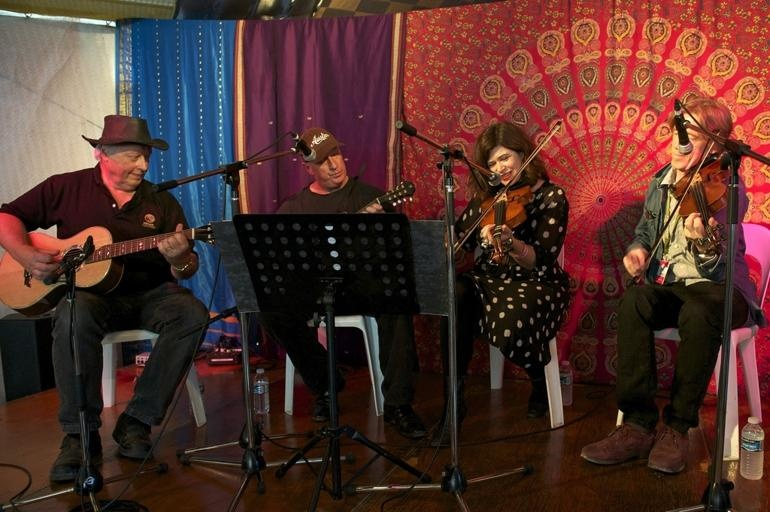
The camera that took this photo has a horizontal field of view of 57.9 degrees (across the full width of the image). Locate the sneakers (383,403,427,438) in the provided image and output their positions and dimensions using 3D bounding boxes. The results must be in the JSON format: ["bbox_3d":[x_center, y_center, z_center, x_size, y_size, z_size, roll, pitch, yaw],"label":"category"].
[{"bbox_3d":[0.124,0.955,4.225,0.152,0.169,0.403,-2,10,-28],"label":"sneakers"}]

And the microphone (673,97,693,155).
[{"bbox_3d":[1.473,-0.627,3.417,0.077,0.238,0.457,2,5,24],"label":"microphone"}]

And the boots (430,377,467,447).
[{"bbox_3d":[0.356,0.959,4.017,0.112,0.213,0.299,13,-36,-33],"label":"boots"}]

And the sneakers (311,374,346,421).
[{"bbox_3d":[-0.383,0.899,4.336,0.170,0.216,0.513,-2,-3,9],"label":"sneakers"}]

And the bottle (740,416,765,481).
[{"bbox_3d":[1.926,0.983,3.631,0.109,0.310,0.154,2,6,26],"label":"bottle"}]

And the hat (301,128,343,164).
[{"bbox_3d":[-0.440,-0.749,4.566,0.246,0.202,0.339,-30,18,-23],"label":"hat"}]

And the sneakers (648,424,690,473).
[{"bbox_3d":[1.562,1.002,3.762,0.165,0.170,0.463,4,17,33],"label":"sneakers"}]

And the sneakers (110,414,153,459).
[{"bbox_3d":[-1.542,1.029,4.083,0.170,0.205,0.436,3,0,-43],"label":"sneakers"}]

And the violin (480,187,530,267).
[{"bbox_3d":[0.721,-0.180,4.027,0.242,0.100,0.485,-20,21,34],"label":"violin"}]

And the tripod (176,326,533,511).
[{"bbox_3d":[0.070,0.850,3.594,1.065,0.765,1.127,0,-2,14],"label":"tripod"}]

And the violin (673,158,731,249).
[{"bbox_3d":[1.689,-0.297,3.664,0.126,0.469,0.271,9,-24,-30],"label":"violin"}]

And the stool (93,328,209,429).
[{"bbox_3d":[-1.507,0.733,4.509,0.647,0.560,0.640,2,-7,-29],"label":"stool"}]

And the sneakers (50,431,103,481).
[{"bbox_3d":[-1.753,1.065,3.844,0.116,0.258,0.365,-6,6,7],"label":"sneakers"}]

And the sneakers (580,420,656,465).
[{"bbox_3d":[1.286,1.018,3.868,0.460,0.211,0.167,-8,4,-11],"label":"sneakers"}]
